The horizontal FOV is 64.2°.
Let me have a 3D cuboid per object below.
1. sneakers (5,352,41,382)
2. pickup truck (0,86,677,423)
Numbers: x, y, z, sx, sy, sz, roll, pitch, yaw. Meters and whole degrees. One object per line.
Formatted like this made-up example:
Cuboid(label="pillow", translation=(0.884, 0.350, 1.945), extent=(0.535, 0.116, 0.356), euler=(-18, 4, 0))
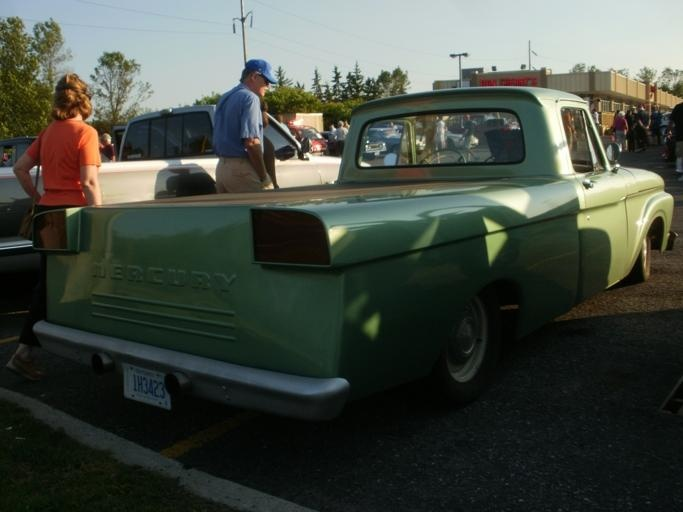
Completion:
Cuboid(label="sneakers", translation=(-2.538, 0.899, 4.331), extent=(0.243, 0.110, 0.118), euler=(30, 10, -27))
Cuboid(label="pickup truck", translation=(0.730, -0.176, 4.145), extent=(2.143, 1.553, 4.583), euler=(10, 20, 42))
